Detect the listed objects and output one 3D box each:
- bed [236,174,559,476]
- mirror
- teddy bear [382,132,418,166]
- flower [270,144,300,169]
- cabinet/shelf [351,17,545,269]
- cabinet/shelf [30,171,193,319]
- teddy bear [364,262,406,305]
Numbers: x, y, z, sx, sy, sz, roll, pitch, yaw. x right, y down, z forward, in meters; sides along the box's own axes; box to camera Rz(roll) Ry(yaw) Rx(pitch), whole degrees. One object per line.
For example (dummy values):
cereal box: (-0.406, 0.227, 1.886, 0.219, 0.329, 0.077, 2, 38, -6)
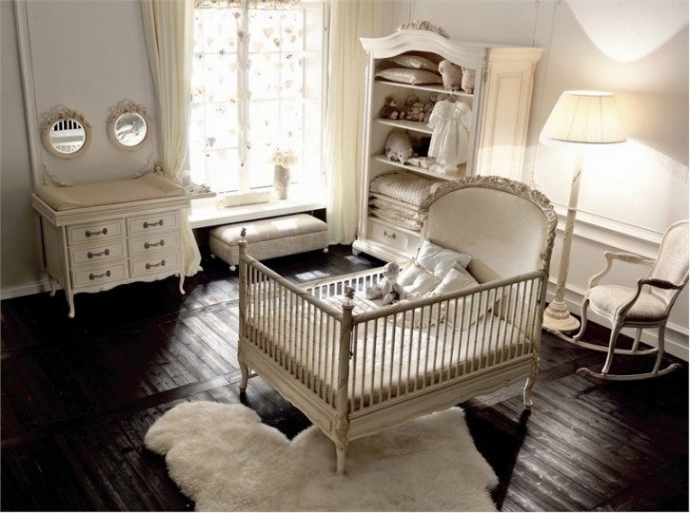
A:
bed: (0.308, 0.465, 4.358, 2.400, 2.236, 1.843, -14, 28, -31)
mirror: (-2.544, -1.311, 5.230, 1.042, 0.559, 0.081, -11, 25, -30)
teddy bear: (0.658, -1.343, 6.288, 0.322, 0.186, 0.489, -6, 46, -21)
flower: (-0.830, -1.317, 6.906, 0.347, 0.341, 0.428, 0, 22, -7)
cabinet/shelf: (1.103, -1.242, 5.277, 1.004, 3.042, 1.979, -11, 28, -34)
cabinet/shelf: (-2.277, -0.158, 5.247, 1.445, 1.179, 0.659, -13, 26, -33)
teddy bear: (0.320, 0.234, 4.288, 0.289, 0.393, 0.356, 1, 9, -29)
